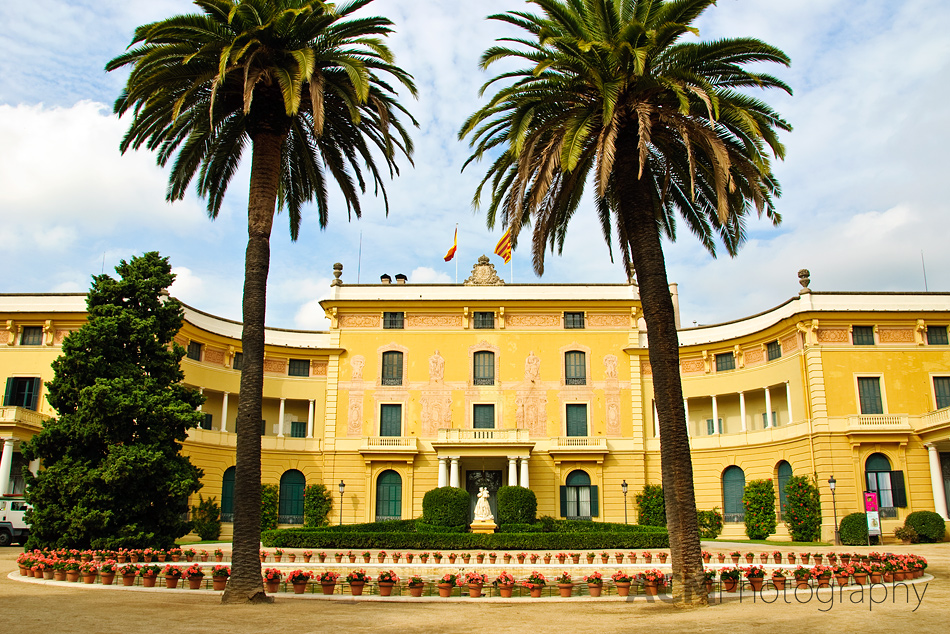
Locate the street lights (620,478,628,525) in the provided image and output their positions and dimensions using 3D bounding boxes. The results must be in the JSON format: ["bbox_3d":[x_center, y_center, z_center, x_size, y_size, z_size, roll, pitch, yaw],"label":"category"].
[{"bbox_3d":[8.776,10.668,46.052,0.527,2.398,0.823,-6,-17,16],"label":"street lights"}]
